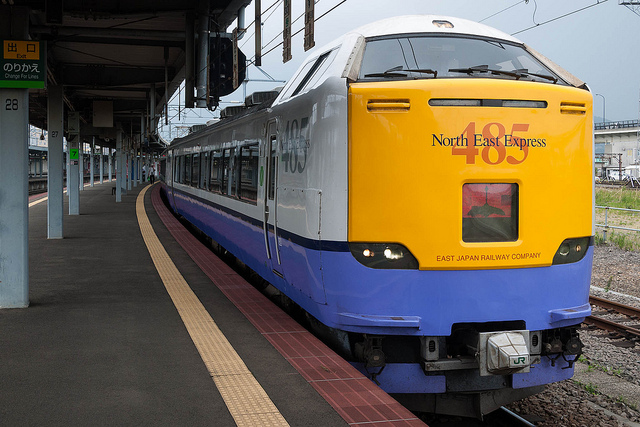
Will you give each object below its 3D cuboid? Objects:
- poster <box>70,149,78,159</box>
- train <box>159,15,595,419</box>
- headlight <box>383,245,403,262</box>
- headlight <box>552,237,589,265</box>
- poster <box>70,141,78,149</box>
[{"bbox_3d":[-9.625,-2.311,19.339,0.267,0.360,0.690,-2,6,-27],"label":"poster"},{"bbox_3d":[1.065,-0.007,5.728,5.226,1.425,5.257,0,6,-21],"label":"train"},{"bbox_3d":[0.788,0.442,5.355,0.177,0.179,0.201,7,-5,1],"label":"headlight"},{"bbox_3d":[2.857,0.434,5.678,0.333,0.344,0.087,7,12,-23],"label":"headlight"},{"bbox_3d":[-9.573,-2.648,19.247,0.273,0.275,0.147,0,-9,-6],"label":"poster"}]
